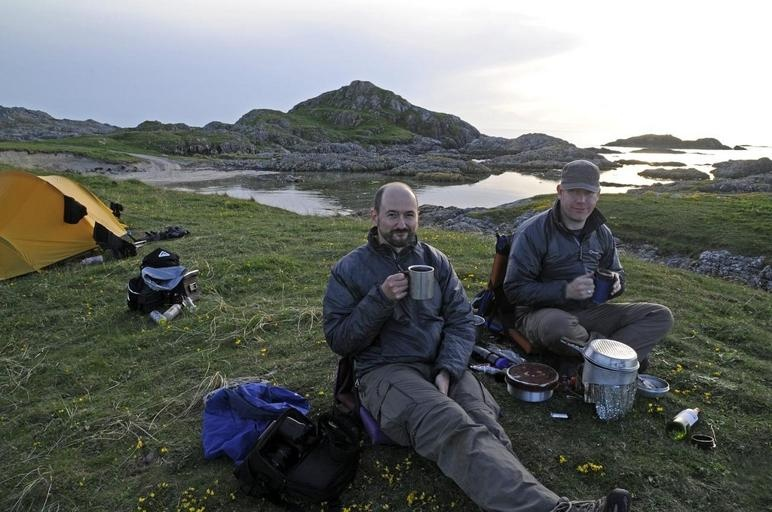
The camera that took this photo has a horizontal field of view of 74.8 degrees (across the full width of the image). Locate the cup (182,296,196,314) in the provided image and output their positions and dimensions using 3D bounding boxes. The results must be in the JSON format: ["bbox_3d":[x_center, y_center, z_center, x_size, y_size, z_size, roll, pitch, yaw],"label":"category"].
[{"bbox_3d":[-4.129,1.042,10.676,0.266,0.286,0.330,7,37,-46],"label":"cup"}]

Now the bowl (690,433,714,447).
[{"bbox_3d":[4.611,2.704,7.377,0.322,0.142,0.137,1,17,2],"label":"bowl"}]

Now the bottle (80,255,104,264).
[{"bbox_3d":[-7.727,0.100,13.365,0.439,0.150,0.261,1,14,7],"label":"bottle"}]

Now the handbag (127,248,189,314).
[{"bbox_3d":[-4.815,0.565,10.767,1.004,1.146,1.047,13,21,34],"label":"handbag"}]

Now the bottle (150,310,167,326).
[{"bbox_3d":[-4.595,1.275,10.234,0.179,0.157,0.276,33,-8,-31],"label":"bottle"}]

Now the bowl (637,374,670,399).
[{"bbox_3d":[4.262,2.092,8.089,0.469,0.232,0.427,1,16,0],"label":"bowl"}]
